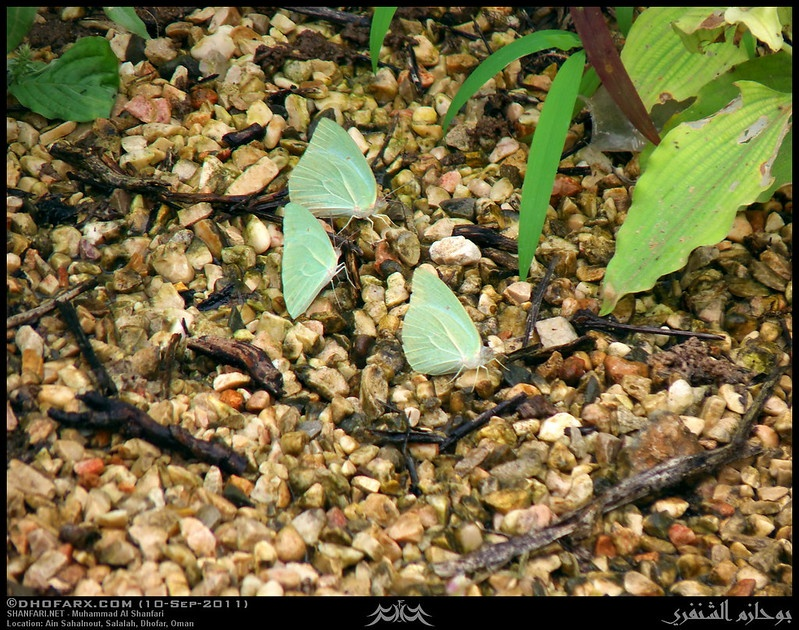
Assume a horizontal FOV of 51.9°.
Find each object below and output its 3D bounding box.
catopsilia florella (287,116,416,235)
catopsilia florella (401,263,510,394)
[{"bbox_3d":[-0.209,-0.400,2.370,0.314,0.312,0.217,17,62,-27],"label":"catopsilia florella"},{"bbox_3d":[0.144,0.037,2.077,0.252,0.282,0.185,6,89,12],"label":"catopsilia florella"}]
